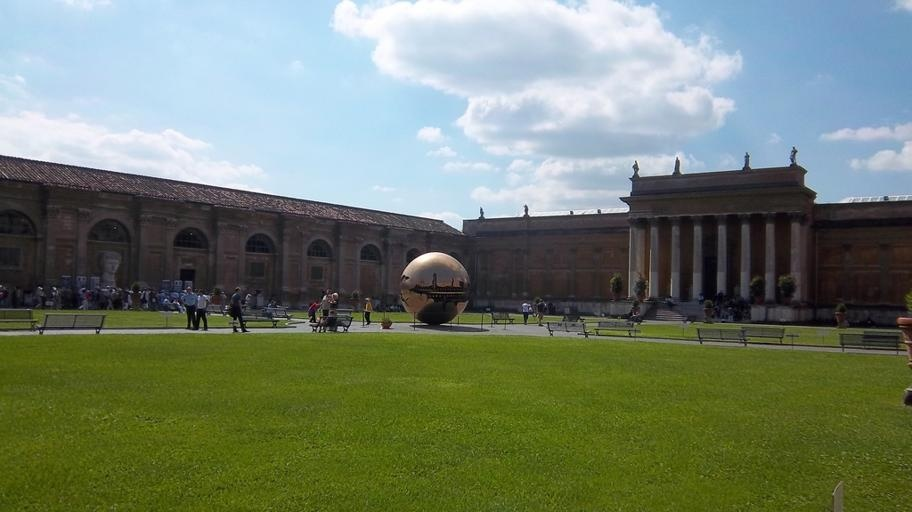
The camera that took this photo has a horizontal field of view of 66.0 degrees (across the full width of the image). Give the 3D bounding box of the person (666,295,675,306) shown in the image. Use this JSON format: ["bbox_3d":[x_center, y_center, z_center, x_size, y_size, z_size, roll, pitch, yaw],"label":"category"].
[{"bbox_3d":[18.746,3.926,61.455,0.671,0.974,1.149,-1,-6,6],"label":"person"}]

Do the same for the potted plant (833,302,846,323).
[{"bbox_3d":[28.133,4.258,51.448,0.503,1.572,1.017,-4,-7,33],"label":"potted plant"}]

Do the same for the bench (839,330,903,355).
[{"bbox_3d":[20.136,4.188,34.195,2.553,0.898,2.931,-4,-7,31],"label":"bench"}]

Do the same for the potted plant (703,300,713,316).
[{"bbox_3d":[19.344,4.016,54.267,0.407,1.248,0.829,-1,-6,5],"label":"potted plant"}]
